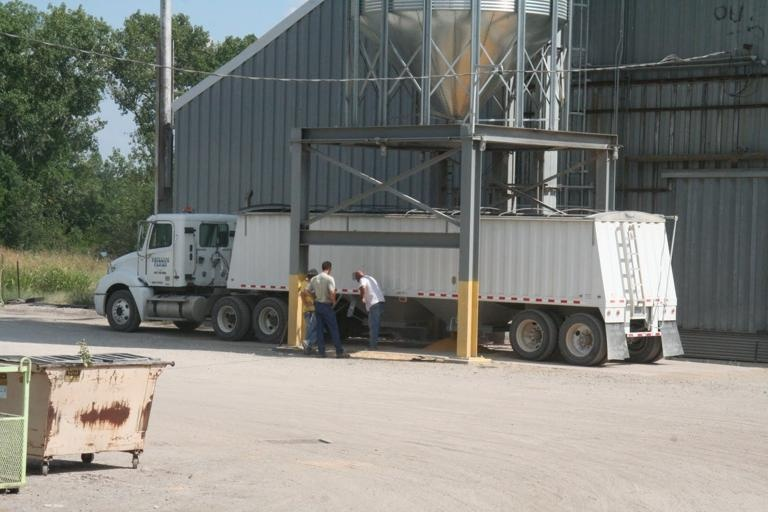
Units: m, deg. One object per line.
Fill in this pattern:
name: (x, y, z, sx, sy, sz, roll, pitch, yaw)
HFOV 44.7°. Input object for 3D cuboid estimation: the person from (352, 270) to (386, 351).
person: (-0.364, 1.394, 24.732, 0.818, 2.034, 1.563, 0, 4, 0)

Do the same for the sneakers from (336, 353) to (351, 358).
sneakers: (-1.004, 2.544, 23.730, 0.359, 0.177, 0.139, -2, -1, -8)

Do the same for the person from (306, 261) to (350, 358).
person: (-1.440, 1.367, 23.832, 0.940, 2.396, 0.556, 1, 4, 10)
